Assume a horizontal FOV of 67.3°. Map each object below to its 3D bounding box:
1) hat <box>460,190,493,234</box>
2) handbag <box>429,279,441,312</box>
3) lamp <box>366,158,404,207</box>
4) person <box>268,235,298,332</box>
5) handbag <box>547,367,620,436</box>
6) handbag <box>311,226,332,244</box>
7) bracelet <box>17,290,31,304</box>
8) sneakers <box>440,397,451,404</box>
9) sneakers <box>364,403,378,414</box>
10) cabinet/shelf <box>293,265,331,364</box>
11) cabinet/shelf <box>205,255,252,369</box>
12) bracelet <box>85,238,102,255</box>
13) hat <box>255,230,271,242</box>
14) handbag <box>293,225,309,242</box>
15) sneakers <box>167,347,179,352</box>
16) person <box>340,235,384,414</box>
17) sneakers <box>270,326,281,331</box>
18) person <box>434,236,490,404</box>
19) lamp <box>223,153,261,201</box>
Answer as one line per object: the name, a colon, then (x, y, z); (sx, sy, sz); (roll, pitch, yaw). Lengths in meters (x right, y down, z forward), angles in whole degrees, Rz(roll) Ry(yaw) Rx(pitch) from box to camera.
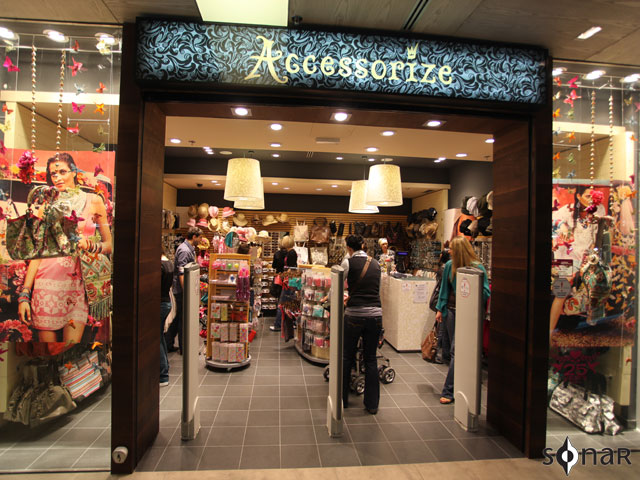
hat: (2.338, -0.365, 7.118); (0.298, 0.599, 0.849); (-7, 26, 7)
handbag: (1.557, 0.760, 6.488); (0.142, 0.402, 0.311); (9, -6, 3)
lamp: (0.921, -0.807, 6.859); (0.570, 0.608, 0.565); (1, -7, 1)
person: (-0.673, 0.880, 8.845); (0.471, 1.842, 1.335); (1, 7, -6)
handbag: (2.746, 1.724, 5.051); (0.682, 0.659, 0.345); (16, 13, 42)
handbag: (0.000, -0.102, 11.810); (0.482, 0.469, 0.378); (1, 7, -1)
bracelet: (-2.772, 0.535, 4.510); (0.119, 0.150, 0.117); (0, -1, 5)
sneakers: (1.488, 1.885, 5.610); (0.156, 0.068, 0.073); (1, 7, -3)
sneakers: (0.567, 1.891, 5.390); (0.170, 0.100, 0.119); (5, 8, 24)
cabinet/shelf: (-0.100, 1.094, 6.908); (0.529, 1.288, 1.366); (1, 2, -4)
cabinet/shelf: (-1.261, 0.987, 6.588); (0.590, 1.559, 0.456); (0, 7, -12)
bracelet: (-2.128, 0.070, 4.524); (0.132, 0.132, 0.051); (13, 17, -6)
hat: (-1.224, -0.073, 10.331); (0.274, 0.154, 0.427); (0, -1, 0)
handbag: (-0.422, -0.136, 10.850); (0.392, 0.408, 0.161); (0, -6, -1)
sneakers: (-2.227, 1.687, 7.345); (0.066, 0.048, 0.157); (-8, -6, 0)
person: (0.472, 0.951, 5.443); (0.465, 1.965, 0.455); (2, 7, 4)
sneakers: (-0.837, 1.671, 9.034); (0.210, 0.083, 0.075); (5, -6, 1)
person: (1.675, 0.948, 5.714); (0.551, 1.915, 0.893); (3, 7, 11)
lamp: (-1.075, -0.819, 6.807); (0.534, 0.580, 0.539); (-6, -12, 33)
